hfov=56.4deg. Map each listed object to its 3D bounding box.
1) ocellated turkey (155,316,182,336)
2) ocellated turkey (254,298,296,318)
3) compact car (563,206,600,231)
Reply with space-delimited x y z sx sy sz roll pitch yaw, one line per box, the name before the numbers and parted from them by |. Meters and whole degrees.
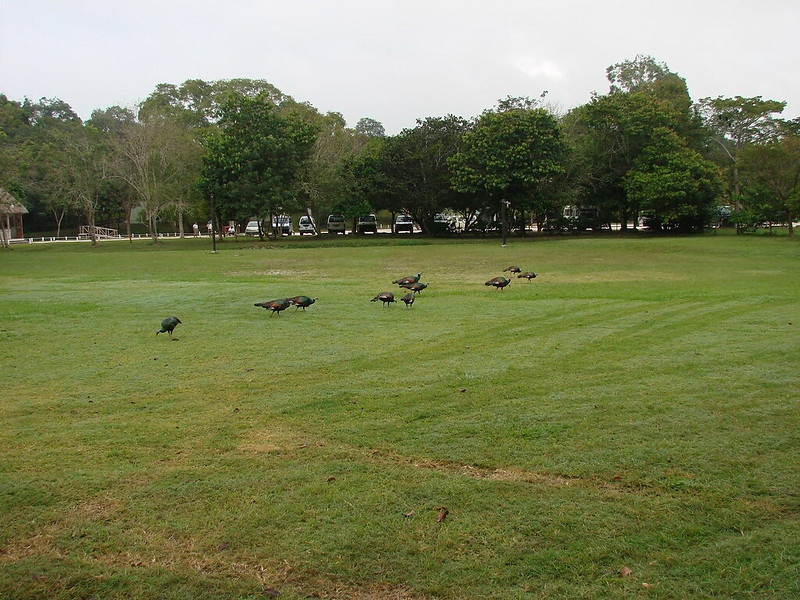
ocellated turkey | -4.467 0.491 14.384 0.371 0.349 0.668 -2 5 -24
ocellated turkey | -2.651 0.146 16.160 0.679 0.361 1.137 -1 5 -7
compact car | 16.001 -7.272 65.979 2.878 2.397 22.358 1 5 13
